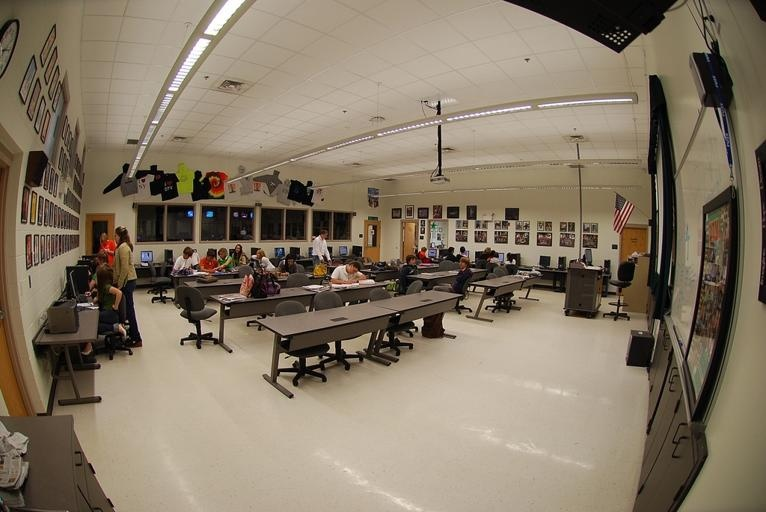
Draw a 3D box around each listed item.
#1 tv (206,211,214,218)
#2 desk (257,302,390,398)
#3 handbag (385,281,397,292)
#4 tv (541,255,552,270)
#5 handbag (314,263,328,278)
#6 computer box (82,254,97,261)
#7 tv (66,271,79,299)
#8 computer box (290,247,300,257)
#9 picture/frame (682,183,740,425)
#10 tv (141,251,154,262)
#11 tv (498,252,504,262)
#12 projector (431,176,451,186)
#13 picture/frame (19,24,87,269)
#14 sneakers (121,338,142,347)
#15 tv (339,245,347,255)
[{"bbox_3d":[-5.238,-1.270,13.935,0.271,0.272,0.143,-1,8,-30],"label":"tv"},{"bbox_3d":[-0.712,1.269,6.642,1.972,0.842,0.692,-4,13,-43],"label":"desk"},{"bbox_3d":[0.174,0.684,10.409,0.214,0.113,0.258,-2,5,3],"label":"handbag"},{"bbox_3d":[5.069,0.194,14.201,0.390,0.474,0.174,2,-9,11],"label":"tv"},{"bbox_3d":[-1.473,0.318,10.320,0.335,0.153,0.268,13,11,36],"label":"handbag"},{"bbox_3d":[-6.539,0.027,10.192,0.185,0.140,0.182,4,-6,-10],"label":"computer box"},{"bbox_3d":[-5.057,0.465,7.428,0.124,0.369,0.347,-10,14,-36],"label":"tv"},{"bbox_3d":[-2.780,-0.149,14.382,0.197,0.360,0.356,0,-1,36],"label":"computer box"},{"bbox_3d":[2.544,0.320,3.550,0.246,1.721,0.797,10,16,32],"label":"picture/frame"},{"bbox_3d":[-6.226,0.007,12.052,0.134,0.281,0.263,-5,-6,36],"label":"tv"},{"bbox_3d":[3.810,0.025,14.625,0.208,0.260,0.263,0,2,-12],"label":"tv"},{"bbox_3d":[1.217,-1.647,9.859,0.338,0.181,0.571,4,14,11],"label":"projector"},{"bbox_3d":[-4.243,-1.438,5.880,0.223,2.158,2.909,-1,6,-21],"label":"picture/frame"},{"bbox_3d":[-4.063,1.370,7.376,0.245,0.084,0.153,1,2,14],"label":"sneakers"},{"bbox_3d":[-1.499,-0.221,17.097,0.285,0.249,0.147,5,-13,-42],"label":"tv"}]
